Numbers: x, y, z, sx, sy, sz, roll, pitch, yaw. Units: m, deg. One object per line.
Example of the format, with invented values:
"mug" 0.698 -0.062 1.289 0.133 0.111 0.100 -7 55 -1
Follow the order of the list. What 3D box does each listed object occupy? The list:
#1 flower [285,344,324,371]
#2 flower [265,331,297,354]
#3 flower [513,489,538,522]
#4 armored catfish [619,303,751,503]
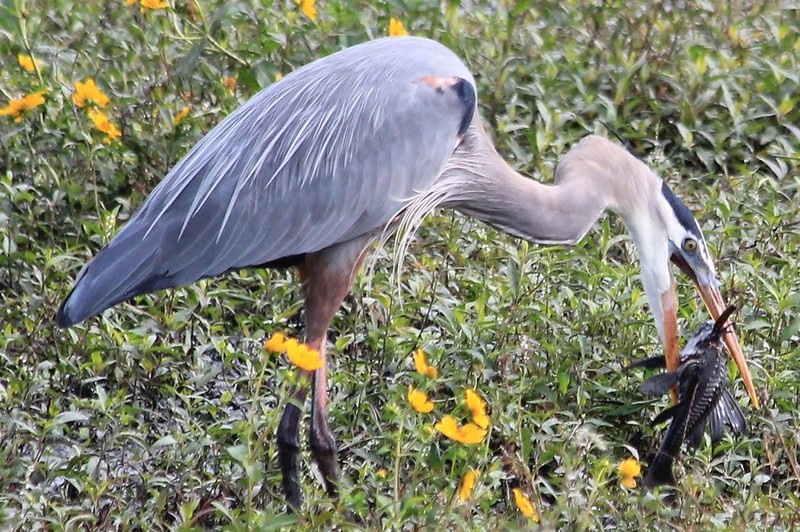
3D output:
"flower" -0.393 0.392 4.001 0.126 0.060 0.113 16 25 -22
"flower" -0.475 0.337 4.016 0.140 0.071 0.122 -2 11 -20
"flower" 0.542 1.029 4.159 0.082 0.066 0.230 26 -19 22
"armored catfish" 1.435 0.687 5.146 0.530 0.943 0.548 21 -13 -15
